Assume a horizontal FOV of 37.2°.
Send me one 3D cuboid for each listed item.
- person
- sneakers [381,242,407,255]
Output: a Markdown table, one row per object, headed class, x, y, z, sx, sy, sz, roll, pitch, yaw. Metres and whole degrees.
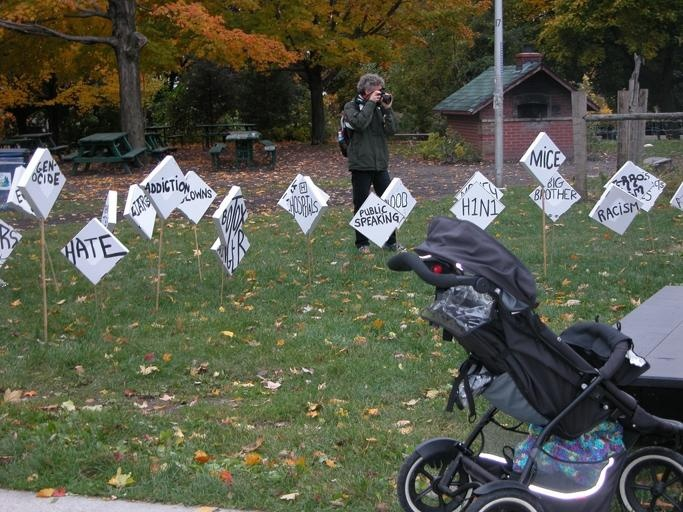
| class | x | y | z | sx | sy | sz | roll | pitch | yaw |
| --- | --- | --- | --- | --- | --- | --- | --- | --- | --- |
| person | 0.469 | -1.931 | 17.249 | 0.934 | 2.307 | 0.775 | -2 | 7 | -1 |
| sneakers | 0.916 | -0.142 | 17.460 | 0.412 | 0.214 | 0.163 | 3 | 24 | 10 |
